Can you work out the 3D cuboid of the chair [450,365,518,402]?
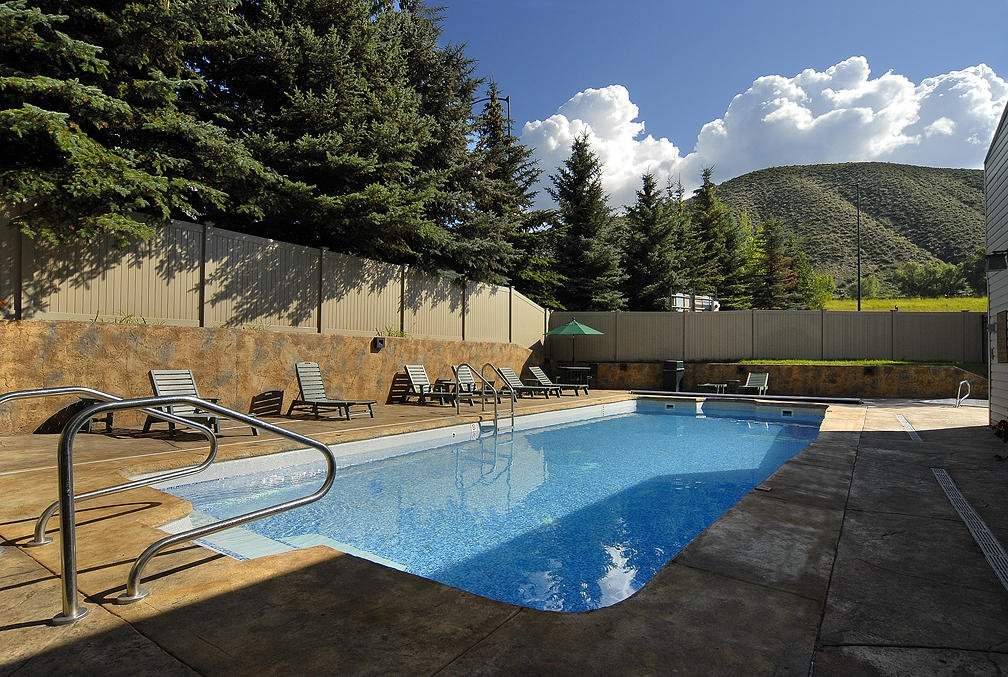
[{"bbox_3d":[-0.802,1.233,14.917,1.616,0.865,1.027,-3,-4,39],"label":"chair"}]

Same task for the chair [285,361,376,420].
[{"bbox_3d":[-3.474,1.105,11.562,1.505,0.986,0.857,4,0,23],"label":"chair"}]

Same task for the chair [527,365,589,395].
[{"bbox_3d":[1.594,1.385,18.170,1.787,0.773,0.944,-2,-2,25],"label":"chair"}]

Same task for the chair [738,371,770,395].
[{"bbox_3d":[8.441,1.527,18.960,0.717,0.949,1.017,-2,-15,36],"label":"chair"}]

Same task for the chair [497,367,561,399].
[{"bbox_3d":[0.740,1.400,16.994,1.669,0.703,1.004,-1,-1,17],"label":"chair"}]

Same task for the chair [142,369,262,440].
[{"bbox_3d":[-4.801,1.013,9.050,1.419,0.845,0.937,3,1,18],"label":"chair"}]

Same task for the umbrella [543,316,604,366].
[{"bbox_3d":[2.684,0.251,21.814,1.793,1.747,2.669,1,9,5],"label":"umbrella"}]

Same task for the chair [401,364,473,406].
[{"bbox_3d":[-1.593,1.233,14.506,1.738,1.016,1.011,-1,-2,31],"label":"chair"}]

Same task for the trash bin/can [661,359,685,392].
[{"bbox_3d":[5.985,1.383,20.159,0.672,1.008,0.624,2,10,9],"label":"trash bin/can"}]
